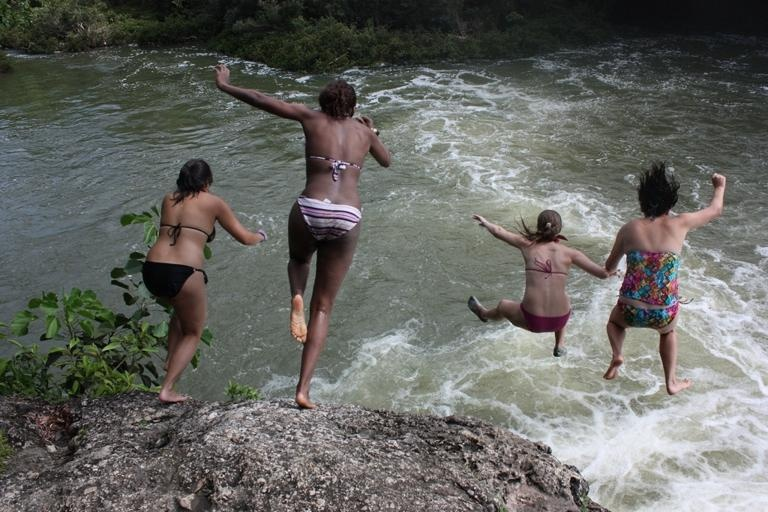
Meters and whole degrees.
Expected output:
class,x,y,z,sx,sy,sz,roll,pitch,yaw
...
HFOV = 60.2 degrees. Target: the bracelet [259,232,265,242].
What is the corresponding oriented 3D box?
class,x,y,z,sx,sy,sz,roll,pitch,yaw
bracelet,-1.873,-0.289,10.350,0.073,0.143,0.106,-18,53,-46
